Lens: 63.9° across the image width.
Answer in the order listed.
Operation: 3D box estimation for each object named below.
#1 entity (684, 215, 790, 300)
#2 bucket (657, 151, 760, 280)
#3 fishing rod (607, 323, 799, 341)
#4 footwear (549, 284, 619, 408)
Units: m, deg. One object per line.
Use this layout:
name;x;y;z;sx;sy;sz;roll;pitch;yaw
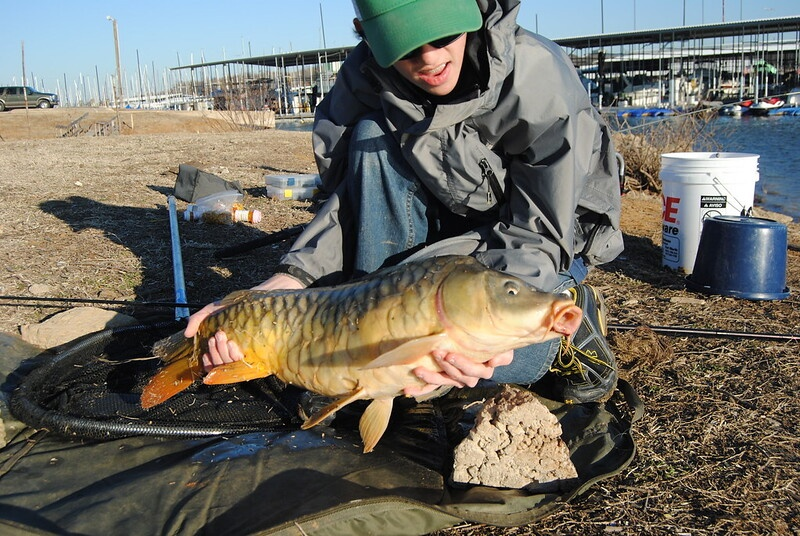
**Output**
entity;2.879;-0.104;5.416;0.796;0.584;0.746;-11;18;-43
bucket;2.710;-0.499;6.164;1.096;1.153;1.025;-2;9;0
fishing rod;2.115;0.443;4.514;1.252;0.119;0.134;-1;16;8
footwear;1.139;0.480;4.032;0.349;0.810;0.343;9;-11;-30
